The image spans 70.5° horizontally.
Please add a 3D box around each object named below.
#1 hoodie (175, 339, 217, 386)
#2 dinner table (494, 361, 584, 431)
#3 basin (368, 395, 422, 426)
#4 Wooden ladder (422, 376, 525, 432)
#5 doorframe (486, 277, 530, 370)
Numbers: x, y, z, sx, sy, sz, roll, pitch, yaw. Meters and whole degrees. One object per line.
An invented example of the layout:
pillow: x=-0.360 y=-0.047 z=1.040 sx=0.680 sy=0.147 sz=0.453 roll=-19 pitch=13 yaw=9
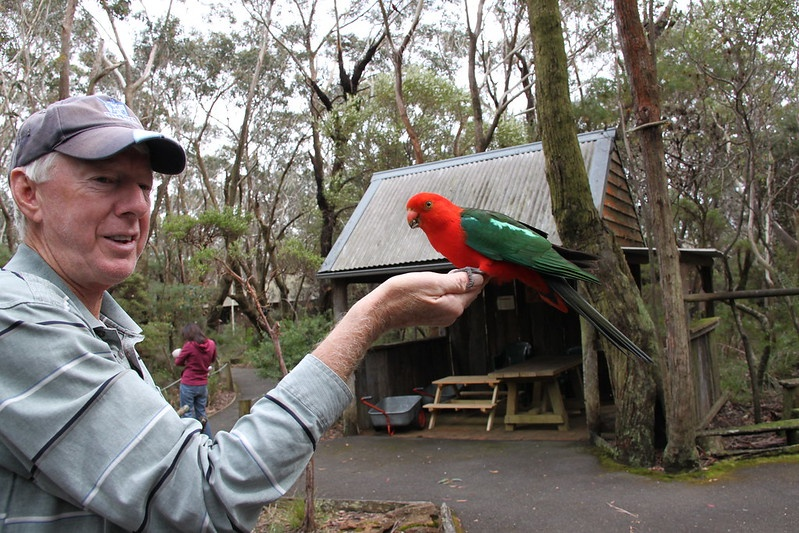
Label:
hoodie: x=-3.485 y=1.644 z=9.658 sx=0.634 sy=0.810 sz=0.680 roll=-4 pitch=-8 yaw=39
dinner table: x=2.558 y=2.119 z=9.788 sx=0.948 sy=1.024 sz=2.883 roll=-8 pitch=-5 yaw=27
basin: x=0.043 y=2.425 z=9.664 sx=0.518 sy=0.361 sz=0.752 roll=-6 pitch=4 yaw=27
Wooden ladder: x=1.202 y=2.314 z=10.060 sx=0.974 sy=0.819 sz=1.623 roll=-1 pitch=-2 yaw=19
doorframe: x=2.410 y=1.116 z=11.632 sx=0.918 sy=2.000 sz=1.000 roll=1 pitch=-6 yaw=-15
